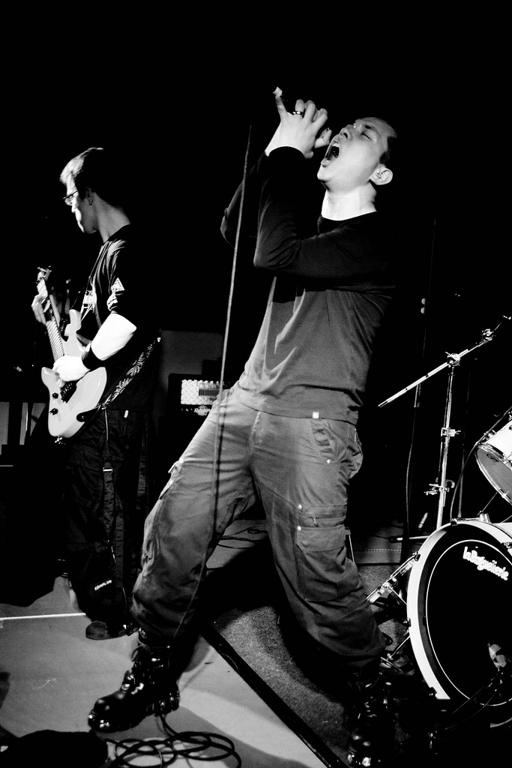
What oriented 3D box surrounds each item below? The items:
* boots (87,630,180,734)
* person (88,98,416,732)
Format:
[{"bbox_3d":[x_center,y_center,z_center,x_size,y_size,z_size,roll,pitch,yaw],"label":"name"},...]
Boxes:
[{"bbox_3d":[-0.300,0.752,1.917,0.258,0.213,0.120,-4,15,-41],"label":"boots"},{"bbox_3d":[0.031,0.091,1.865,0.666,1.589,0.327,4,4,13],"label":"person"}]
